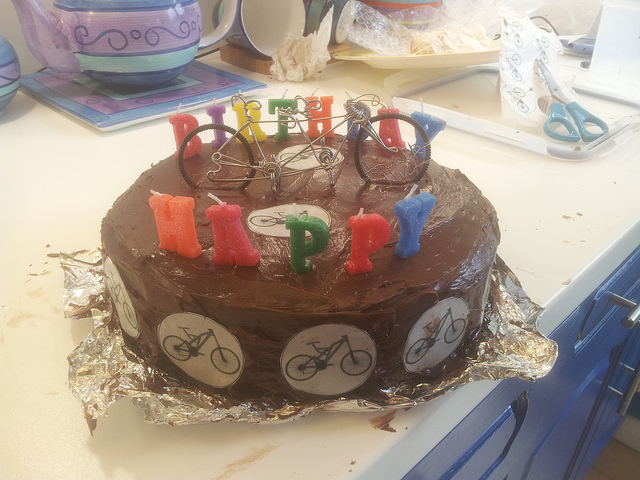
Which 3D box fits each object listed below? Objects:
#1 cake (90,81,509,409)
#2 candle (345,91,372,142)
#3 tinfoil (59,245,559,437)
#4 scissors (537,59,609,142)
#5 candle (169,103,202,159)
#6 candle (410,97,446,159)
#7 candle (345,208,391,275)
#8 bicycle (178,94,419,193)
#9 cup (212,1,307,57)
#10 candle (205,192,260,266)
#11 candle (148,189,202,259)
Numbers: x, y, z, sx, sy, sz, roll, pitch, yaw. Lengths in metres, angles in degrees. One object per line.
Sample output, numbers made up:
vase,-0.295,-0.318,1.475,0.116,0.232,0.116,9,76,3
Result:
cake,-0.032,-0.022,1.077,0.747,0.239,0.702,-11,28,-20
candle,0.083,-0.240,1.118,0.022,0.066,0.052,5,32,45
tinfoil,-0.054,0.049,1.077,0.830,0.286,0.538,-5,32,-9
scissors,0.668,-0.366,1.452,0.160,0.129,0.257,3,40,3
candle,-0.263,-0.220,1.114,0.069,0.097,0.064,-5,38,-12
candle,0.208,-0.213,1.102,0.104,0.123,0.018,12,-2,-35
candle,0.073,0.006,0.836,0.100,0.128,0.024,-10,34,-19
bicycle,-0.041,-0.186,1.095,0.367,0.076,0.331,10,34,17
cup,-0.173,-0.712,1.836,0.293,0.194,0.206,-18,23,-29
candle,-0.130,-0.013,0.831,0.079,0.105,0.022,1,18,24
candle,-0.228,-0.020,0.862,0.110,0.115,0.027,14,42,21
